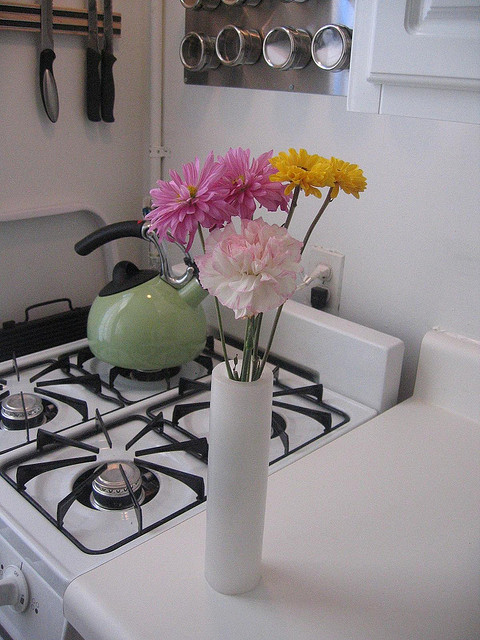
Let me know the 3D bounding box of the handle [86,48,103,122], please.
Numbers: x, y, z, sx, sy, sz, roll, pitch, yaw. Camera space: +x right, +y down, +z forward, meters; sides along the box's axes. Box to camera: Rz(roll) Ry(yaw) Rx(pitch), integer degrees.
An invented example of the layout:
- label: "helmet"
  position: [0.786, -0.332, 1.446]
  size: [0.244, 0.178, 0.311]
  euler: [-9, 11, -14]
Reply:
- label: "handle"
  position: [-0.348, -0.553, 1.213]
  size: [0.032, 0.153, 0.055]
  euler: [-1, 16, -17]

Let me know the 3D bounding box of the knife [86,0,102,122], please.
- label: "knife"
  position: [-0.345, -0.598, 1.197]
  size: [0.034, 0.248, 0.052]
  euler: [0, 16, -16]

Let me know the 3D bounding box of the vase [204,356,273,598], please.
- label: "vase"
  position: [-0.001, 0.150, 0.458]
  size: [0.057, 0.240, 0.095]
  euler: [6, 15, 5]

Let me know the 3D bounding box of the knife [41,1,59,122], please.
- label: "knife"
  position: [-0.413, -0.561, 1.097]
  size: [0.031, 0.204, 0.053]
  euler: [-1, 16, -19]

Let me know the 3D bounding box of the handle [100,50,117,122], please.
- label: "handle"
  position: [-0.317, -0.567, 1.234]
  size: [0.038, 0.184, 0.018]
  euler: [9, 17, 19]

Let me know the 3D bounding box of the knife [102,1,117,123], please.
- label: "knife"
  position: [-0.314, -0.608, 1.217]
  size: [0.029, 0.255, 0.036]
  euler: [-3, 17, -25]

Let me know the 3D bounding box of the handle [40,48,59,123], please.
- label: "handle"
  position: [-0.424, -0.516, 1.131]
  size: [0.037, 0.144, 0.067]
  euler: [-1, 16, -18]
